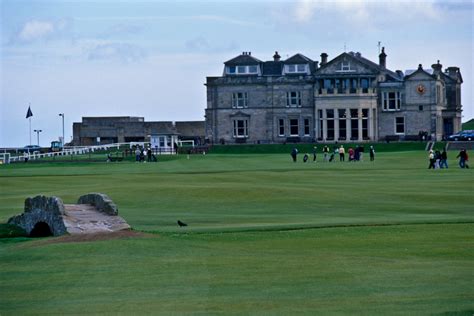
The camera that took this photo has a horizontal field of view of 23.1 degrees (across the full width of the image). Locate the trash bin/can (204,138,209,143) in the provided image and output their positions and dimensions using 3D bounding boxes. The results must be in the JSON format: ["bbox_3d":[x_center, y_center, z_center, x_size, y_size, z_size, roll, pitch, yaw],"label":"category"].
[{"bbox_3d":[-3.743,-1.936,139.560,0.698,0.815,0.633,0,-2,0],"label":"trash bin/can"}]

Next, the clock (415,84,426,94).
[{"bbox_3d":[21.976,-8.059,137.956,1.226,1.018,0.457,3,-2,7],"label":"clock"}]

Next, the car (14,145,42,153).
[{"bbox_3d":[-27.851,-0.875,152.672,3.519,0.994,1.432,2,1,8],"label":"car"}]

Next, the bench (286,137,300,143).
[{"bbox_3d":[6.719,-2.090,139.942,1.117,0.472,0.973,1,3,8],"label":"bench"}]

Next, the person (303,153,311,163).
[{"bbox_3d":[6.826,0.165,114.081,0.681,0.834,0.457,16,-26,6],"label":"person"}]

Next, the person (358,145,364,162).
[{"bbox_3d":[11.865,-0.309,110.922,0.410,1.411,1.852,-2,1,8],"label":"person"}]

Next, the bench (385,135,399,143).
[{"bbox_3d":[18.602,-2.214,138.093,1.423,0.779,1.243,0,4,4],"label":"bench"}]

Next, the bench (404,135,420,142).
[{"bbox_3d":[20.779,-2.256,136.705,1.830,0.794,2.924,-2,1,1],"label":"bench"}]
